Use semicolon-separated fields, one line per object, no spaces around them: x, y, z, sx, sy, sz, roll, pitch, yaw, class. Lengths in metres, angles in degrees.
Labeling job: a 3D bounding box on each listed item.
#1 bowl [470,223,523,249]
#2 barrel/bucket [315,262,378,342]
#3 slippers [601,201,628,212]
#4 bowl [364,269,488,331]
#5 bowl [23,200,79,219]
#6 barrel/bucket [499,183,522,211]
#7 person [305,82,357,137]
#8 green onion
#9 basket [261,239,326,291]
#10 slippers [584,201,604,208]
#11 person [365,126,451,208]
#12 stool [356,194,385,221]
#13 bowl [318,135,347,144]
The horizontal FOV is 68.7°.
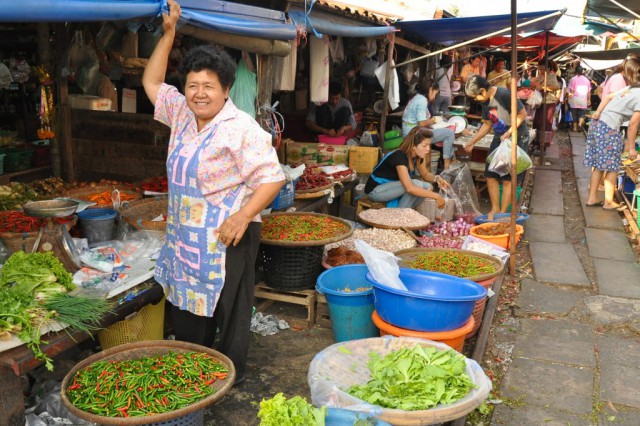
2.223;0.298;6.095;0.626;0.304;0.553;1;14;-2;bowl
0.274;0.833;4.608;0.731;0.721;0.583;-4;-8;23;barrel/bucket
5.026;-0.113;7.960;0.374;0.087;0.179;-1;20;6;slippers
0.902;0.706;3.896;0.835;0.334;0.681;10;16;28;bowl
-2.471;-0.038;4.321;0.281;0.062;0.259;3;14;-1;bowl
3.320;-0.256;8.113;0.466;0.308;0.426;-1;5;0;barrel/bucket
0.275;-2.068;9.329;1.011;1.050;0.702;1;15;-4;person
-1.740;0.747;3.388;0.406;0.103;0.258;19;38;-2;green onion
-0.283;0.521;4.837;0.611;0.388;0.565;0;9;-10;basket
4.835;-0.162;8.195;0.288;0.068;0.107;-5;16;-14;slippers
1.337;-0.562;6.899;0.786;1.591;0.724;10;13;39;person
0.714;-0.136;7.131;0.393;0.345;0.385;-21;31;-38;stool
0.251;-1.327;8.507;0.361;0.113;0.271;1;11;11;bowl
